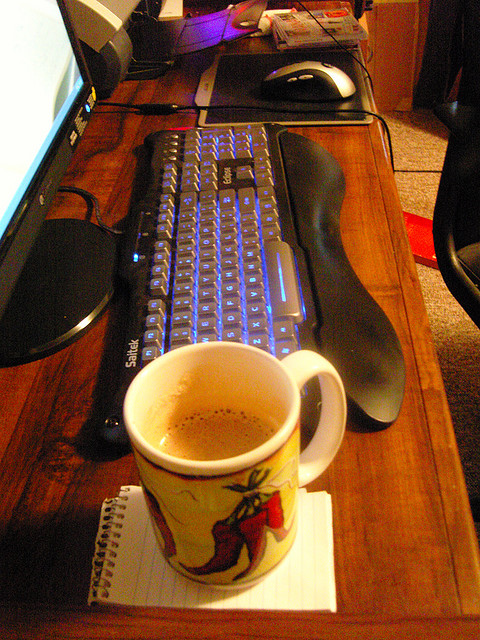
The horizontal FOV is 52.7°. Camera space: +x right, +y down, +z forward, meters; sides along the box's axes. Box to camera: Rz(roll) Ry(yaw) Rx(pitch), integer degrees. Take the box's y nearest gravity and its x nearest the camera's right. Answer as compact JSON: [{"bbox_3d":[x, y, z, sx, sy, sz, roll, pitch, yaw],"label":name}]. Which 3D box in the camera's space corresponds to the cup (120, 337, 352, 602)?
[{"bbox_3d":[0.006,0.071,0.242,0.098,0.103,0.070,-19,36,-20],"label":"cup"}]

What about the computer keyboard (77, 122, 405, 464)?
[{"bbox_3d":[-0.010,-0.014,0.524,0.265,0.247,0.460,4,39,3],"label":"computer keyboard"}]
